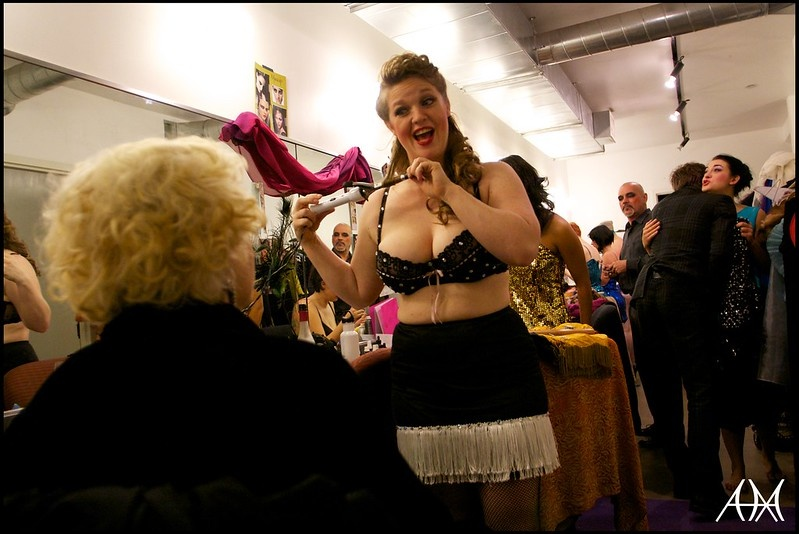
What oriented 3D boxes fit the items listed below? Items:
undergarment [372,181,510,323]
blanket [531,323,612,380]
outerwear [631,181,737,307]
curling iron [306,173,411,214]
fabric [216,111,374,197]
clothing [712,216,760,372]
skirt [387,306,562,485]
[{"bbox_3d":[0.118,0.004,1.540,0.385,0.149,0.412,-10,24,21],"label":"undergarment"},{"bbox_3d":[0.670,0.283,2.065,0.293,0.118,0.291,0,16,-6],"label":"blanket"},{"bbox_3d":[1.273,-0.060,2.273,0.299,0.498,0.403,21,-12,-22],"label":"outerwear"},{"bbox_3d":[-0.138,-0.254,1.701,0.393,0.079,0.068,-14,16,26],"label":"curling iron"},{"bbox_3d":[-0.623,-0.716,3.345,0.956,0.392,0.277,9,-1,-33],"label":"fabric"},{"bbox_3d":[1.393,0.092,2.110,0.266,0.651,0.130,-4,-2,-33],"label":"clothing"},{"bbox_3d":[0.198,0.382,1.486,0.541,0.506,0.331,-7,-13,0],"label":"skirt"}]
